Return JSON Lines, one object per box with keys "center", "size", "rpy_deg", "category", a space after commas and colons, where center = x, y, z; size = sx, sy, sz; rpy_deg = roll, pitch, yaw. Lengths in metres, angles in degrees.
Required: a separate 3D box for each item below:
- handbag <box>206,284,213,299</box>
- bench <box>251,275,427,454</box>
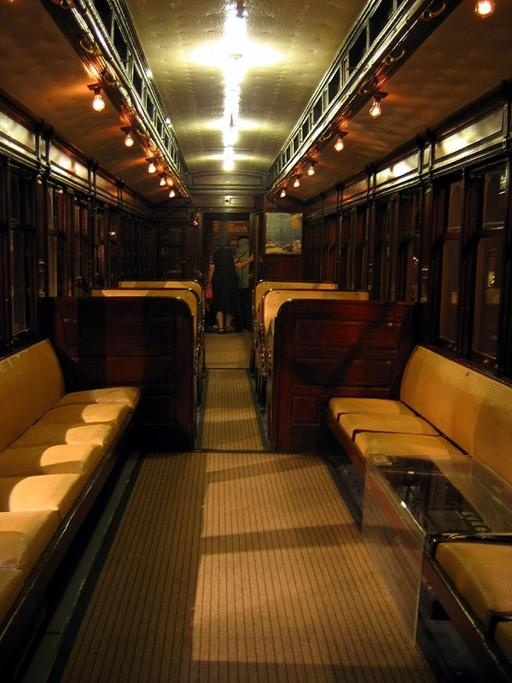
{"center": [-1.238, -1.293, 12.747], "size": [0.203, 0.351, 0.121], "rpy_deg": [2, -6, 32], "category": "handbag"}
{"center": [0.761, 0.540, 5.166], "size": [1.271, 1.516, 2.267], "rpy_deg": [1, 4, 2], "category": "bench"}
